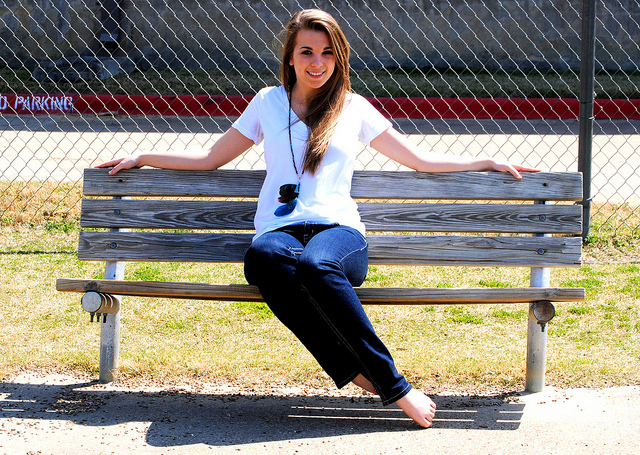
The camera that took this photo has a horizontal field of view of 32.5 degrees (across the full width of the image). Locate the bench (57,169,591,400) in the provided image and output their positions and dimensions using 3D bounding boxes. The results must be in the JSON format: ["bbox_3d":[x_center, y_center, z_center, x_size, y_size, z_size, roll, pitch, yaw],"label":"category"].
[{"bbox_3d":[-0.009,0.359,7.627,3.620,1.277,0.979,1,19,9],"label":"bench"}]

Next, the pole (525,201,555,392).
[{"bbox_3d":[1.493,0.480,7.509,0.206,1.316,0.527,-1,3,10],"label":"pole"}]

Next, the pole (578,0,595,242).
[{"bbox_3d":[2.191,-0.882,9.055,0.163,2.009,0.206,-2,3,-5],"label":"pole"}]

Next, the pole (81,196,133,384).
[{"bbox_3d":[-1.436,0.438,7.560,0.249,1.308,0.618,-2,3,3],"label":"pole"}]
